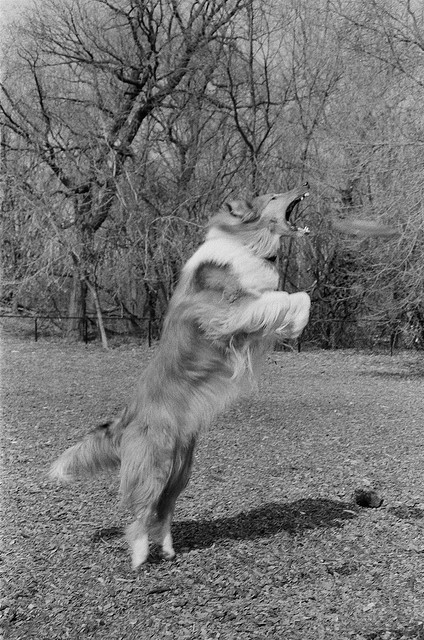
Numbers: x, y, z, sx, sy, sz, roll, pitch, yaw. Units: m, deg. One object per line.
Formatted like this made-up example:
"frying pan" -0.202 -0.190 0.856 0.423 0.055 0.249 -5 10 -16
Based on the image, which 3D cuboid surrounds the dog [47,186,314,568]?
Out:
"dog" -0.093 0.322 3.726 1.299 2.306 0.897 1 3 10
